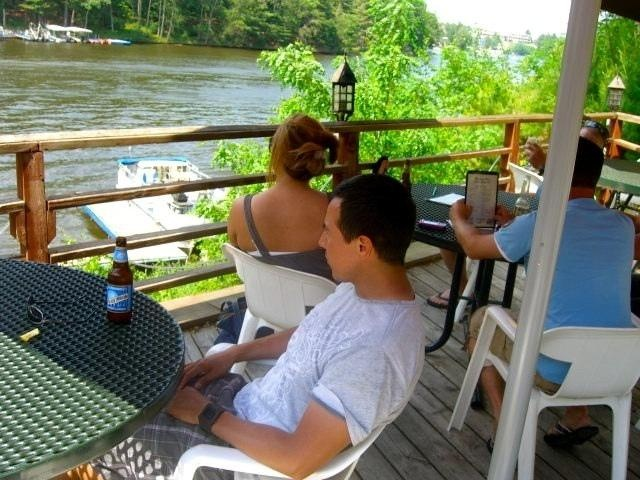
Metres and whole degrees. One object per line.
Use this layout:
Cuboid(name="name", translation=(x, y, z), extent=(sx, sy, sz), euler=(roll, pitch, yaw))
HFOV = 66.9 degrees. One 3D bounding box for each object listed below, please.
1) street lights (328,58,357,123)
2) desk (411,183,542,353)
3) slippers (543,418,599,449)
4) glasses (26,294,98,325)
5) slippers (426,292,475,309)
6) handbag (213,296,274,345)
Cuboid(name="street lights", translation=(0.218, -1.403, 4.552), extent=(0.235, 0.537, 0.645), euler=(4, 20, 1))
Cuboid(name="desk", translation=(0.855, 0.132, 2.847), extent=(0.915, 0.650, 0.964), euler=(0, 15, -16))
Cuboid(name="slippers", translation=(1.129, 0.873, 2.190), extent=(0.240, 0.108, 0.097), euler=(-16, -20, 22))
Cuboid(name="glasses", translation=(-0.774, 0.203, 1.441), extent=(0.127, 0.039, 0.109), euler=(-5, 26, -34))
Cuboid(name="slippers", translation=(0.863, 0.383, 3.223), extent=(0.241, 0.083, 0.147), euler=(2, 9, 0))
Cuboid(name="handbag", translation=(-0.339, 0.369, 2.195), extent=(0.133, 0.208, 0.240), euler=(35, 25, -37))
